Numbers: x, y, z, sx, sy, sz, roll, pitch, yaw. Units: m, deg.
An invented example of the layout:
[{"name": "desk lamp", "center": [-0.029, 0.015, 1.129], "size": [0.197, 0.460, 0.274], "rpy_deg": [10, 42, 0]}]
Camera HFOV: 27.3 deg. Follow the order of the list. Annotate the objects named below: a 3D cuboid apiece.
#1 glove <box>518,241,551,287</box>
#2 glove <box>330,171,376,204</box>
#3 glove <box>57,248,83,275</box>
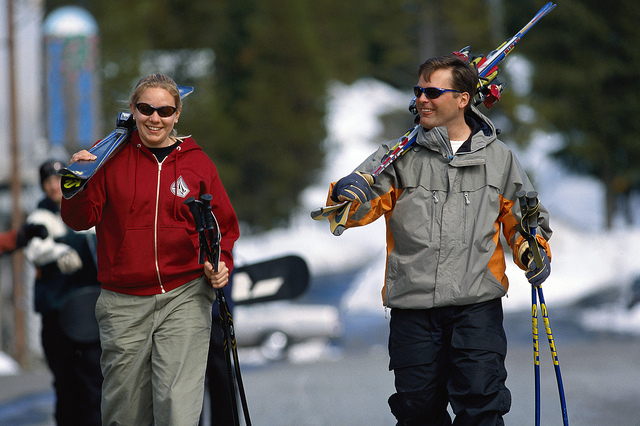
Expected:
[{"name": "glove", "center": [2.888, 0.728, 17.888], "size": [0.217, 0.615, 0.418], "rpy_deg": [-12, -22, -28]}, {"name": "glove", "center": [0.451, -0.342, 17.872], "size": [0.633, 0.445, 0.270], "rpy_deg": [-1, 3, -4]}, {"name": "glove", "center": [-3.625, 0.719, 19.198], "size": [0.358, 0.390, 0.223], "rpy_deg": [-2, 3, -13]}]
